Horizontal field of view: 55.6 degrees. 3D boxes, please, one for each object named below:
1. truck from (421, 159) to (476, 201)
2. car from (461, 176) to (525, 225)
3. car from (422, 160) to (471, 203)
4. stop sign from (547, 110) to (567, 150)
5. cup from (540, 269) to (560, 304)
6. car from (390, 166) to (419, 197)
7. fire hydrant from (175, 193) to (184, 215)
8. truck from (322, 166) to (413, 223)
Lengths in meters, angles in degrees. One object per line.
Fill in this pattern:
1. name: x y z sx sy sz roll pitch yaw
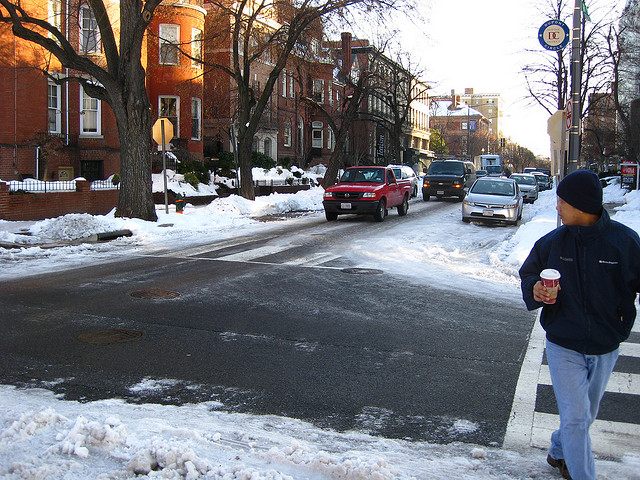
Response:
1. truck: 7.304 -3.441 34.202 1.794 1.501 3.124 0 4 20
2. car: 6.343 -1.451 22.209 1.932 1.602 2.361 4 7 21
3. car: 6.863 -3.373 33.184 1.646 1.619 3.001 0 4 18
4. stop sign: 5.379 -2.568 13.680 0.527 0.868 0.565 1 26 18
5. cup: 1.643 0.340 4.335 0.131 0.267 0.136 2 6 0
6. car: 5.307 -3.900 37.200 1.298 1.381 2.896 21 -3 -8
7. fire hydrant: -4.988 -1.311 21.417 0.218 0.616 0.920 0 7 -14
8. truck: 1.903 -1.845 23.242 1.755 1.495 3.342 1 5 19
